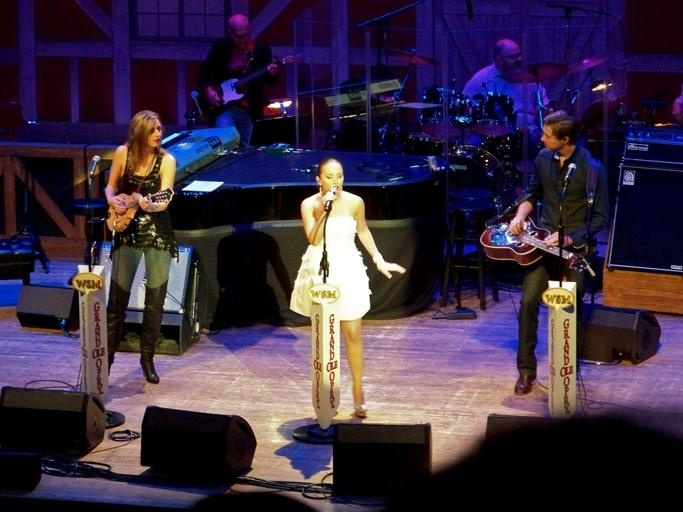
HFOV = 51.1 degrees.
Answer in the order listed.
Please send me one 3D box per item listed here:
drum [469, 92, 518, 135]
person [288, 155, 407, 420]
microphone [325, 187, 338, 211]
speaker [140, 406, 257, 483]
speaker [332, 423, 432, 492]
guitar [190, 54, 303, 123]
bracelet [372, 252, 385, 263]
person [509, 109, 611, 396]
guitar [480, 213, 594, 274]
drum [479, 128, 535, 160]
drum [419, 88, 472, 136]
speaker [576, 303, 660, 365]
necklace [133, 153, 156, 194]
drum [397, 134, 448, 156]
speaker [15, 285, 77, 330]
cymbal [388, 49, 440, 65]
[{"bbox_3d":[1.915,-1.804,8.945,0.525,0.395,0.532,0,-3,0],"label":"drum"},{"bbox_3d":[0.012,0.252,4.751,0.704,1.781,0.835,0,12,2],"label":"person"},{"bbox_3d":[-0.060,-0.350,4.221,0.045,0.178,0.048,16,-29,12],"label":"microphone"},{"bbox_3d":[-0.826,1.075,4.115,0.566,0.423,0.417,3,16,19],"label":"speaker"},{"bbox_3d":[0.210,1.078,3.888,0.630,0.464,0.341,0,24,6],"label":"speaker"},{"bbox_3d":[-1.266,-2.163,9.101,1.528,0.630,0.182,-25,-1,9],"label":"guitar"},{"bbox_3d":[0.236,0.032,4.824,0.075,0.070,0.066,-36,-1,28],"label":"bracelet"},{"bbox_3d":[1.564,-0.013,5.283,0.699,2.059,0.741,6,14,27],"label":"person"},{"bbox_3d":[1.350,-0.070,5.238,0.382,0.153,0.835,-30,33,-21],"label":"guitar"},{"bbox_3d":[2.111,-1.515,8.952,0.447,0.461,0.474,4,35,13],"label":"drum"},{"bbox_3d":[1.352,-1.799,9.286,0.632,0.506,0.690,8,-10,1],"label":"drum"},{"bbox_3d":[2.304,0.506,5.968,0.631,0.459,0.463,2,14,23],"label":"speaker"},{"bbox_3d":[-1.424,-0.581,5.198,0.141,0.250,0.057,9,6,6],"label":"necklace"},{"bbox_3d":[1.036,-1.437,9.259,0.378,0.175,0.512,13,11,32],"label":"drum"},{"bbox_3d":[-2.756,0.461,6.929,0.627,0.397,0.445,3,7,6],"label":"speaker"},{"bbox_3d":[0.947,-2.755,9.891,0.662,0.200,0.610,-2,12,-7],"label":"cymbal"}]
